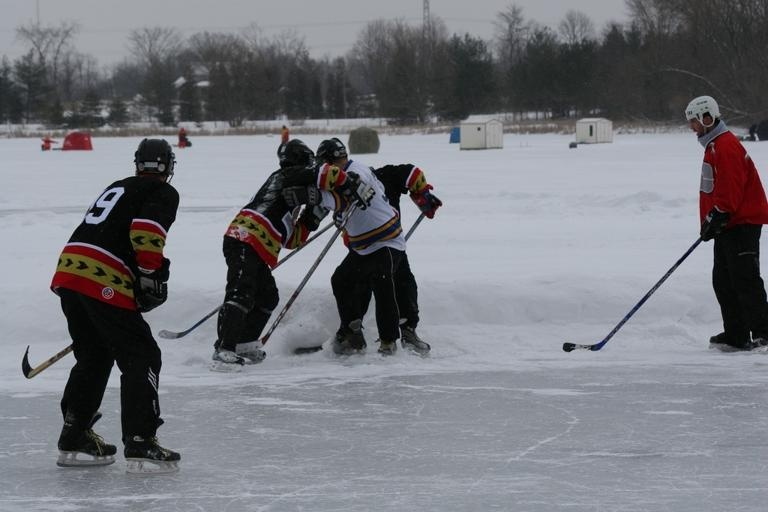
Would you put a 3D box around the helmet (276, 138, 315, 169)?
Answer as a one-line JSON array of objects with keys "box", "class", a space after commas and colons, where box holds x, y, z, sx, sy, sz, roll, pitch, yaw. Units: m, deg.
[{"box": [-0.965, -1.068, 11.979, 0.387, 0.303, 0.284, -11, 12, -27], "class": "helmet"}]

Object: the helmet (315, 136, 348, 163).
[{"box": [-0.595, -1.134, 12.212, 0.244, 0.286, 0.337, -14, 23, -42], "class": "helmet"}]

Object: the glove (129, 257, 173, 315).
[{"box": [-1.989, 0.253, 9.822, 0.300, 0.463, 0.187, -3, 5, -6], "class": "glove"}]

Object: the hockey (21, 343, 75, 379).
[{"box": [-3.295, 1.049, 11.247, 0.481, 0.182, 0.308, -28, 22, 15], "class": "hockey"}]

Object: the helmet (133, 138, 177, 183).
[{"box": [-2.042, -0.854, 10.165, 0.428, 0.411, 0.454, 6, 10, 2], "class": "helmet"}]

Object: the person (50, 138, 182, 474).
[{"box": [-2.294, 0.422, 9.867, 1.149, 2.829, 0.549, -4, 5, -11], "class": "person"}]

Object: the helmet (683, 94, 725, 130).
[{"box": [3.406, -1.557, 12.256, 0.406, 0.308, 0.297, -9, 14, 3], "class": "helmet"}]

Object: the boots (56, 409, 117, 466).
[{"box": [-2.508, 1.576, 10.131, 0.474, 0.450, 0.670, 3, 2, -27], "class": "boots"}]

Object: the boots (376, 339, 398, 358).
[{"box": [0.041, 0.979, 12.029, 0.167, 0.059, 0.210, -1, 18, 2], "class": "boots"}]
